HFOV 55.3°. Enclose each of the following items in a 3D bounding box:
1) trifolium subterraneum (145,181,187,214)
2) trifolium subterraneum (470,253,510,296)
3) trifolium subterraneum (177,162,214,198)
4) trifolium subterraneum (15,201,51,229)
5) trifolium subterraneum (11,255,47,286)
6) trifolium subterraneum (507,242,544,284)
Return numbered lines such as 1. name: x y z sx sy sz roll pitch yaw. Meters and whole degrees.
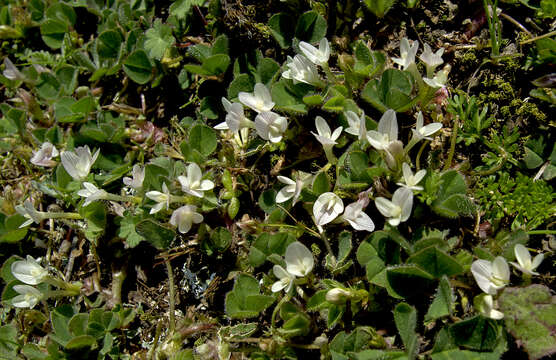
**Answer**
1. trifolium subterraneum: -0.766 0.134 3.619 0.240 0.178 0.109 6 -8 -11
2. trifolium subterraneum: 1.265 0.539 3.166 0.134 0.215 0.225 7 48 -59
3. trifolium subterraneum: -0.552 -0.009 3.540 0.227 0.204 0.161 -10 30 -40
4. trifolium subterraneum: -1.795 0.249 3.853 0.101 0.231 0.236 -5 -12 7
5. trifolium subterraneum: -1.716 0.659 3.774 0.280 0.126 0.213 -3 41 -47
6. trifolium subterraneum: 1.520 0.526 3.279 0.217 0.276 0.186 -2 -16 -41
